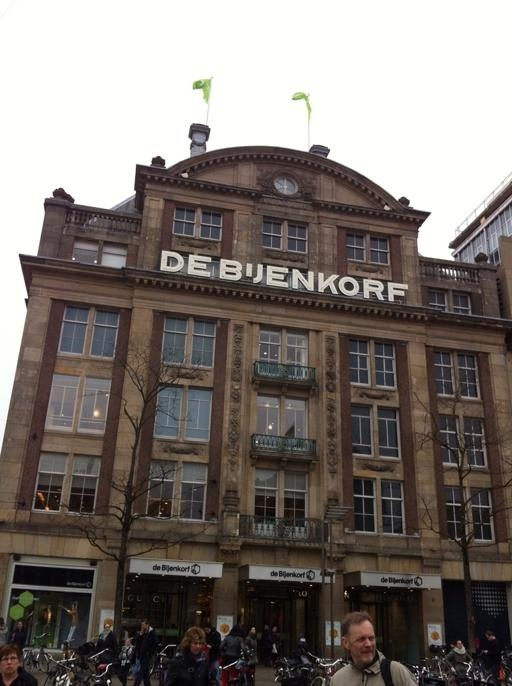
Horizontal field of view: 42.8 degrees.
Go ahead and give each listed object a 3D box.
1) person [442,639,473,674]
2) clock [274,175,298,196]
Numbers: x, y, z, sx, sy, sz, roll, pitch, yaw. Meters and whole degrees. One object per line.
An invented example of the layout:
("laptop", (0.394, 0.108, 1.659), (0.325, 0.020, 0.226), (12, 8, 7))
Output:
("person", (5.633, 8.786, 18.304), (0.628, 0.820, 1.465), (-5, -26, 14))
("clock", (1.732, -9.175, 38.173), (1.356, 1.290, 0.149), (-14, -21, -34))
